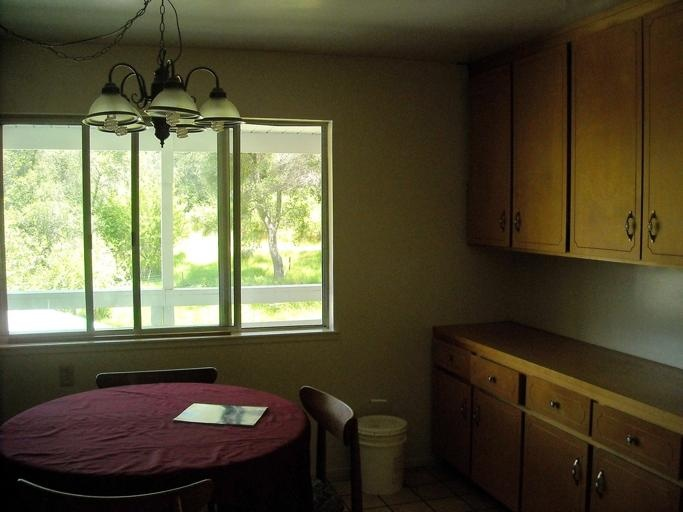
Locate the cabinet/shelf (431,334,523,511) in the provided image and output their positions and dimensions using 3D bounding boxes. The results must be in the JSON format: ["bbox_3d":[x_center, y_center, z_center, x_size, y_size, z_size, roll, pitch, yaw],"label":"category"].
[{"bbox_3d":[0.936,1.133,4.083,0.493,0.997,1.021,1,4,-16],"label":"cabinet/shelf"}]

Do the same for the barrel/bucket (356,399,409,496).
[{"bbox_3d":[0.301,1.398,4.445,0.486,0.542,0.507,-1,5,0],"label":"barrel/bucket"}]
